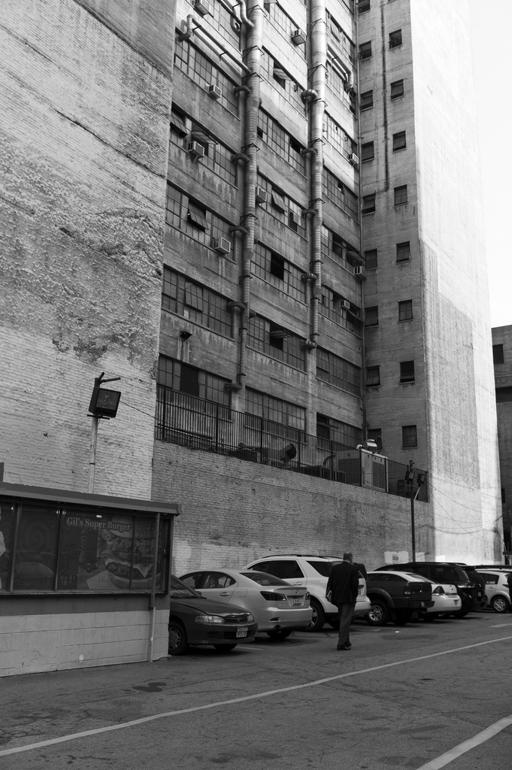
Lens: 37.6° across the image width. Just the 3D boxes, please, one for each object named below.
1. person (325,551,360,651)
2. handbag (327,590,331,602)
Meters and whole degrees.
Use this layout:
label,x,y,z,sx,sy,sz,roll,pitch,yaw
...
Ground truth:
label,x,y,z,sx,sy,sz,roll,pitch,yaw
person,1.504,3.734,13.039,0.546,1.606,0.711,-1,-12,7
handbag,1.268,3.662,13.060,0.111,0.146,0.155,2,-16,-3
